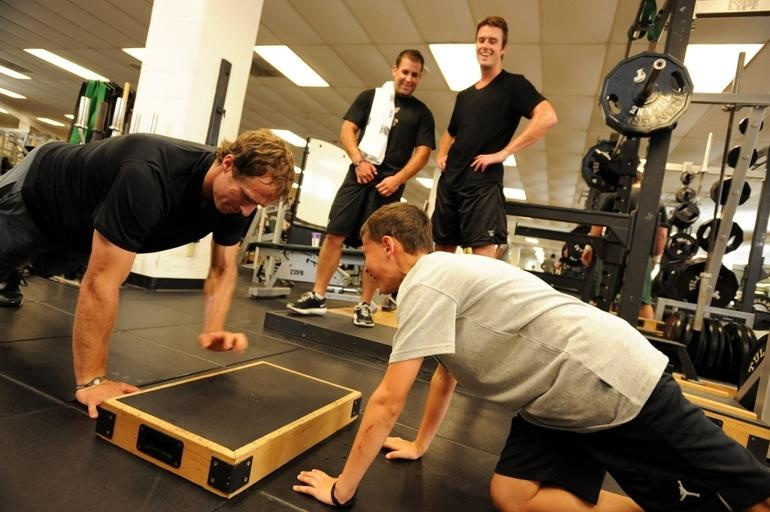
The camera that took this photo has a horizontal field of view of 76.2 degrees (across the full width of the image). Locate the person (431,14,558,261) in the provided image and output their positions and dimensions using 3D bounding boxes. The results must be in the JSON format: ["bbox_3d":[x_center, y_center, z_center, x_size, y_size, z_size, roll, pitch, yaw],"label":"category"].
[{"bbox_3d":[0.696,-0.726,3.415,0.642,2.021,0.722,0,4,-7],"label":"person"}]

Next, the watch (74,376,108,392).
[{"bbox_3d":[-1.374,0.590,2.281,0.107,0.068,0.050,9,0,-31],"label":"watch"}]

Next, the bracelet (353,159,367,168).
[{"bbox_3d":[-0.190,-0.696,3.641,0.075,0.048,0.070,-14,-10,0],"label":"bracelet"}]

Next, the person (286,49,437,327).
[{"bbox_3d":[-0.034,-0.687,4.025,1.031,2.715,0.758,11,2,28],"label":"person"}]

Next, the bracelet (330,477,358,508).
[{"bbox_3d":[-0.176,0.984,2.039,0.077,0.108,0.043,8,-16,-13],"label":"bracelet"}]
